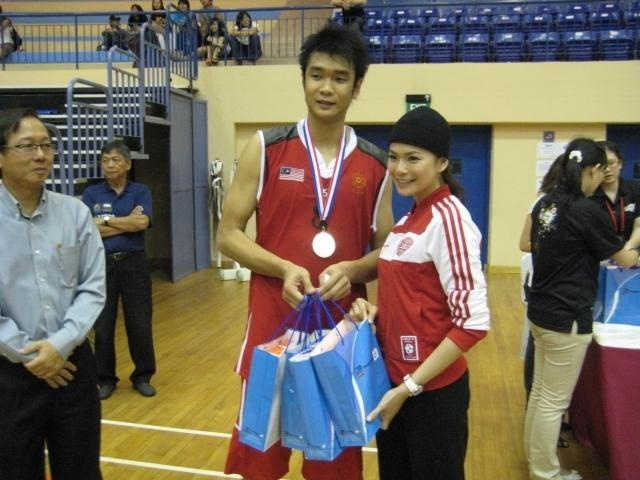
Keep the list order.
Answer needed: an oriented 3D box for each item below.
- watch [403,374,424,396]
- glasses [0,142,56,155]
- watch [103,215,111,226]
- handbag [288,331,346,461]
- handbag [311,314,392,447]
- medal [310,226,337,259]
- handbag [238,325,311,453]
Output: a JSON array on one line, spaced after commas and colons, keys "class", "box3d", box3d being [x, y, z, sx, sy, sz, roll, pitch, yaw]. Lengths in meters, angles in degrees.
[{"class": "watch", "box3d": [0.368, 0.574, 2.266, 0.042, 0.067, 0.064, -31, 46, 1]}, {"class": "glasses", "box3d": [-1.378, -0.431, 2.669, 0.227, 0.051, 0.122, -6, 12, -30]}, {"class": "watch", "box3d": [-1.723, -0.156, 4.618, 0.069, 0.083, 0.071, 1, -4, -19]}, {"class": "handbag", "box3d": [-0.038, 0.631, 2.160, 0.228, 0.376, 0.090, 4, 11, 23]}, {"class": "handbag", "box3d": [0.141, 0.498, 2.305, 0.178, 0.545, 0.418, -9, 8, 33]}, {"class": "medal", "box3d": [0.014, 0.019, 2.435, 0.100, 0.124, 0.054, 0, 10, -1]}, {"class": "handbag", "box3d": [-0.211, 0.646, 2.308, 0.115, 0.349, 0.347, 9, -11, 9]}]
